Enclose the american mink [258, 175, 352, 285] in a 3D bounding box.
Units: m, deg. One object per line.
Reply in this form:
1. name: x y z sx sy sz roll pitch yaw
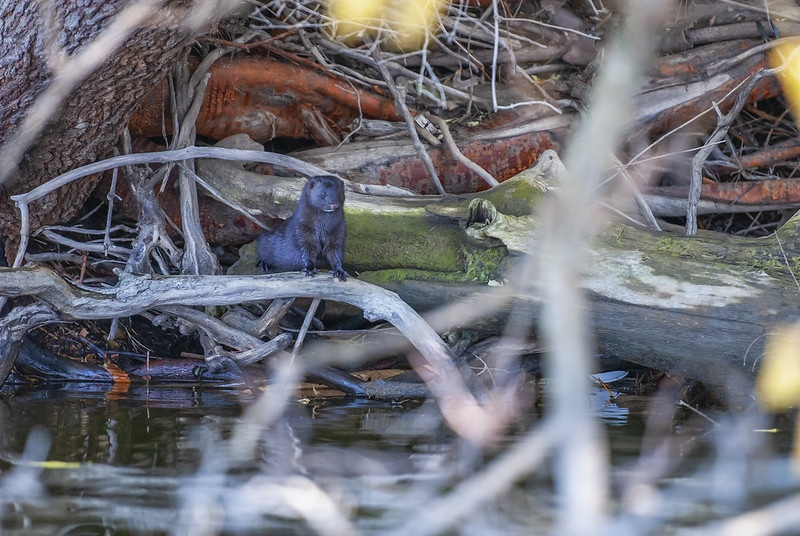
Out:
1. american mink: -0.735 -0.304 7.131 0.755 0.779 0.449 2 12 5
